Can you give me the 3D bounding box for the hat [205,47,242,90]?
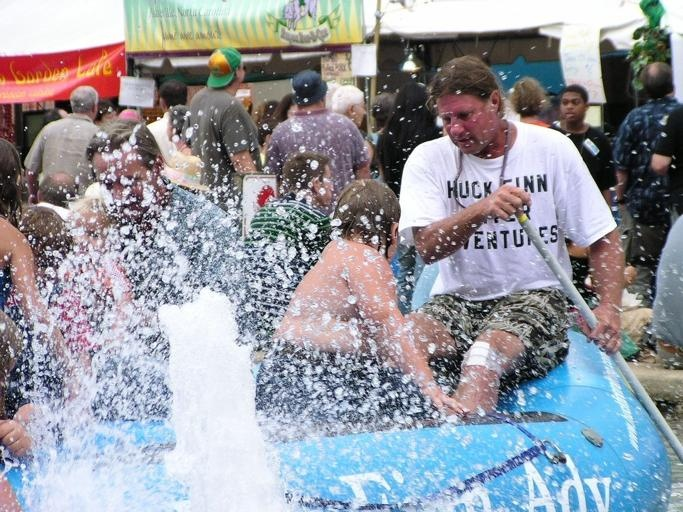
[{"bbox_3d":[-0.928,-1.456,6.261,0.237,0.171,0.425,5,49,21],"label":"hat"}]
